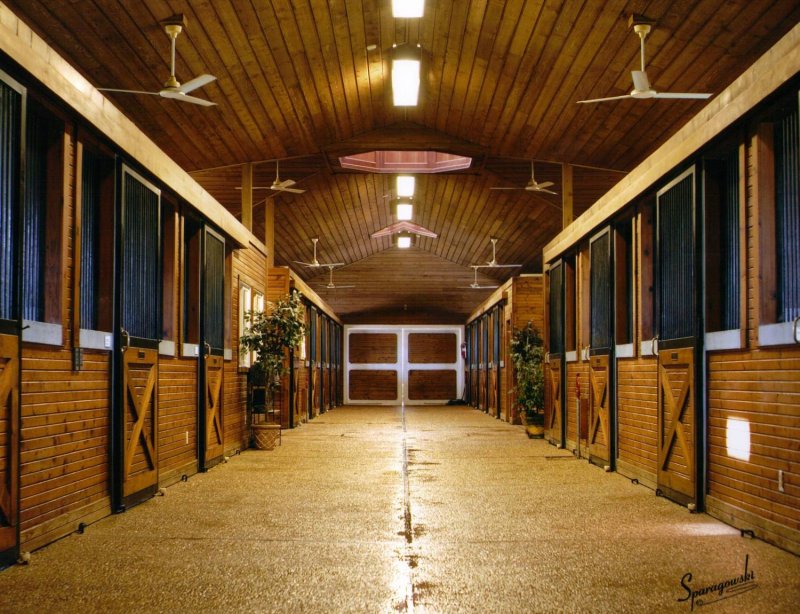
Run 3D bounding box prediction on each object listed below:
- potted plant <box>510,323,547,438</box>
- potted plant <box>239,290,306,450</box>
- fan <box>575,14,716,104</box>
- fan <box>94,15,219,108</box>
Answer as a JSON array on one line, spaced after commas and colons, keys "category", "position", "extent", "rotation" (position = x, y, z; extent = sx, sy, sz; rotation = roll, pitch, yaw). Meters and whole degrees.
[{"category": "potted plant", "position": [2.075, 1.207, 11.228], "extent": [0.514, 1.695, 0.614], "rotation": [-9, -11, 1]}, {"category": "potted plant", "position": [-1.826, 0.883, 9.998], "extent": [0.805, 2.104, 2.195], "rotation": [1, -3, -9]}, {"category": "fan", "position": [2.436, -2.522, 7.050], "extent": [0.975, 0.686, 0.908], "rotation": [-14, 19, 4]}, {"category": "fan", "position": [-2.126, -2.439, 6.843], "extent": [0.884, 0.770, 1.065], "rotation": [3, 0, 27]}]
